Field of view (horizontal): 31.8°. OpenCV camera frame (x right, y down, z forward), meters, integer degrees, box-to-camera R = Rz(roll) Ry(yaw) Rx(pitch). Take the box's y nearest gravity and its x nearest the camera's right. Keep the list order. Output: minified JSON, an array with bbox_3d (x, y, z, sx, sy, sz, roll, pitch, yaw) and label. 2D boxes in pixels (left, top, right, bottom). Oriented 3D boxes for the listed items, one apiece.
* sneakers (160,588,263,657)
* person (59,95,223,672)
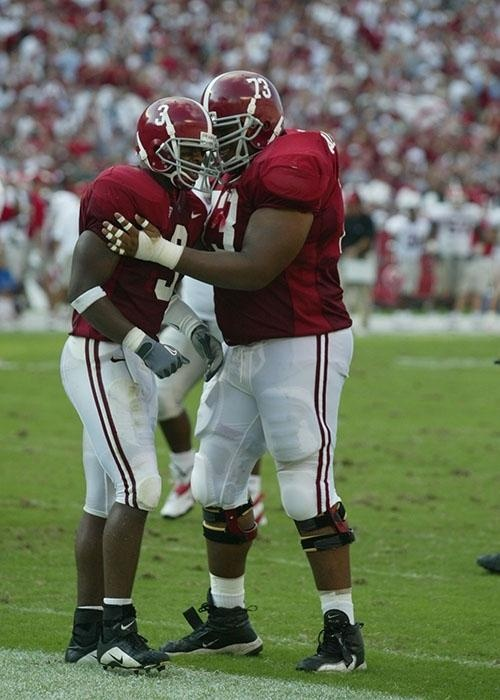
[{"bbox_3d":[-0.100,0.880,2.738,0.401,0.191,0.117,1,-17,5],"label":"sneakers"},{"bbox_3d":[-0.337,0.058,2.552,0.472,1.650,0.557,2,6,2],"label":"person"}]
